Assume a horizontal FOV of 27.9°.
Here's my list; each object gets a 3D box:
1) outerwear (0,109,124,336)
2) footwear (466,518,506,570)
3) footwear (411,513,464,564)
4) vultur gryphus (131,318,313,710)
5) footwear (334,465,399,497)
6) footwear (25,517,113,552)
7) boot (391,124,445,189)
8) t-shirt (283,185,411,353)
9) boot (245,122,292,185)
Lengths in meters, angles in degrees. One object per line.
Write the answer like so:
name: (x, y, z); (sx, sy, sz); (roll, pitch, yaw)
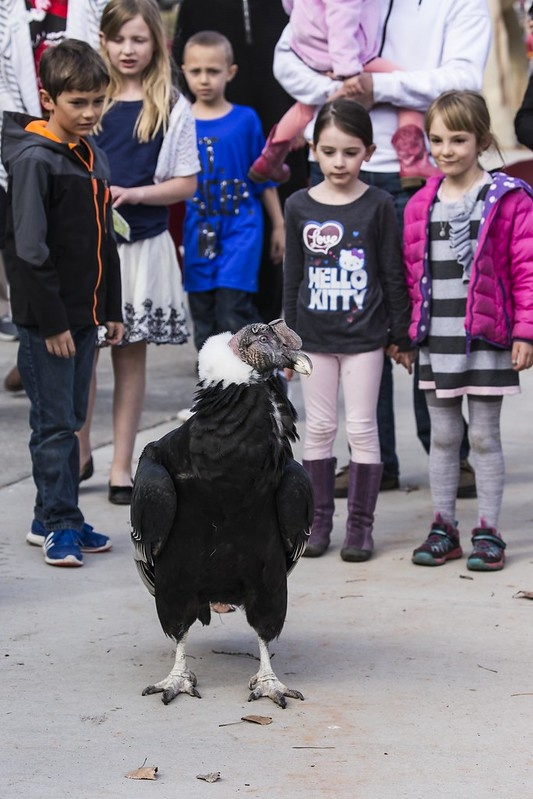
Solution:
outerwear: (-0.753, -0.613, 3.725); (0.334, 0.763, 0.544); (0, 13, 10)
footwear: (0.785, 0.510, 3.778); (0.130, 0.141, 0.214); (1, 12, 13)
footwear: (0.627, 0.518, 3.836); (0.100, 0.147, 0.258); (-3, -5, 33)
vultur gryphus: (-0.104, 0.272, 2.636); (0.461, 0.907, 0.393); (-3, 13, -4)
footwear: (0.444, 0.368, 4.844); (0.344, 0.130, 0.120); (5, -5, -35)
footwear: (-0.748, 0.492, 4.019); (0.352, 0.135, 0.121); (3, 5, 7)
boot: (0.643, -1.007, 4.461); (0.260, 0.229, 0.107); (-12, 11, -34)
t-shirt: (0.296, -0.476, 3.951); (0.469, 0.599, 0.273); (-1, 13, 5)
boot: (0.053, -1.133, 5.028); (0.115, 0.243, 0.265); (45, 33, 23)
